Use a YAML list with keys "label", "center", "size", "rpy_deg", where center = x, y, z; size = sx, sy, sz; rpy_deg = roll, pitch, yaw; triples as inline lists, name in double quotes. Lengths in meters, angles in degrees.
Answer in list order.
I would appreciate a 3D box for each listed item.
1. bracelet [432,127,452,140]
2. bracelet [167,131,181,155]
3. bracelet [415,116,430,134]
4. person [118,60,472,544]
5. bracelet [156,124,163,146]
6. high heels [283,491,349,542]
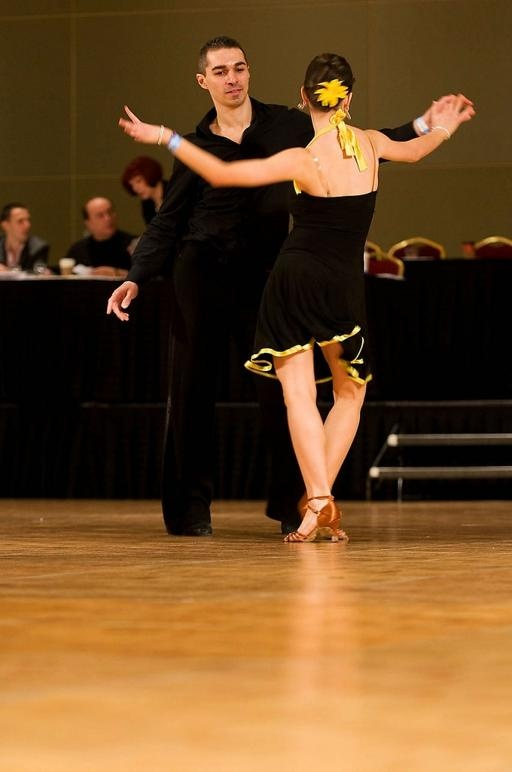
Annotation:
- label: "bracelet"
  center: [0.545, -0.750, 2.435]
  size: [0.057, 0.020, 0.047]
  rpy_deg: [36, 27, 11]
- label: "bracelet"
  center: [-0.209, -0.627, 2.125]
  size: [0.034, 0.051, 0.066]
  rpy_deg: [2, -3, -2]
- label: "bracelet"
  center: [0.498, -0.788, 2.494]
  size: [0.043, 0.045, 0.054]
  rpy_deg: [4, 10, 15]
- label: "person"
  center: [0.144, -0.262, 2.271]
  size: [0.986, 1.367, 0.268]
  rpy_deg: [4, -4, -25]
- label: "bracelet"
  center: [-0.240, -0.637, 2.085]
  size: [0.014, 0.036, 0.058]
  rpy_deg: [3, -4, -8]
- label: "high heels"
  center: [0.140, 0.363, 2.283]
  size: [0.090, 0.128, 0.232]
  rpy_deg: [2, -4, -43]
